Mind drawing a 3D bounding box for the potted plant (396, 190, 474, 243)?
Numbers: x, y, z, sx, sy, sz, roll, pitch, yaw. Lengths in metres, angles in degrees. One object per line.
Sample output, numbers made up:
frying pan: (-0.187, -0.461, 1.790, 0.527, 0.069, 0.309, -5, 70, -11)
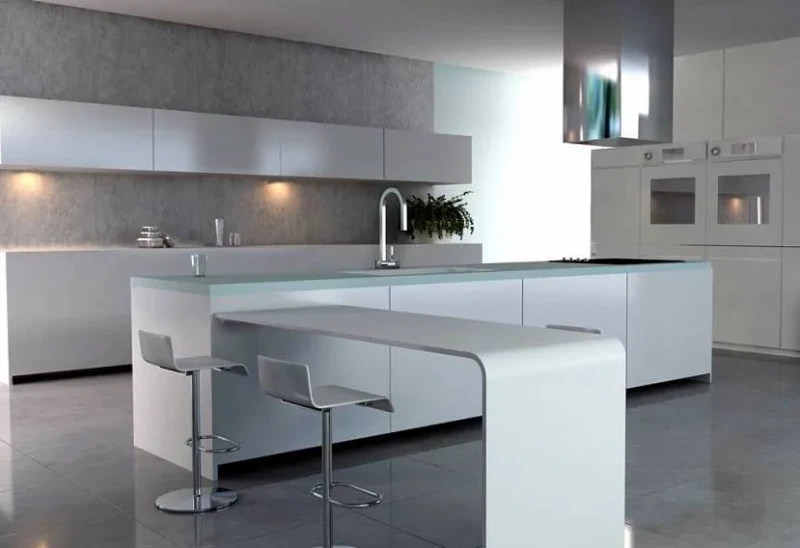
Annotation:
potted plant: (0.461, -0.746, 8.075, 0.912, 0.584, 0.670, 2, -14, -19)

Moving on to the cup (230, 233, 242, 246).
cup: (-1.863, -0.381, 7.004, 0.153, 0.162, 0.149, -1, 3, 0)
